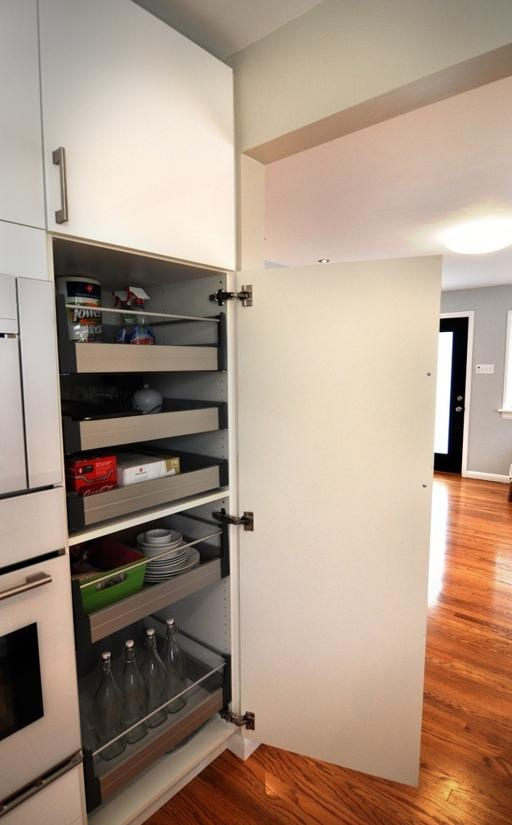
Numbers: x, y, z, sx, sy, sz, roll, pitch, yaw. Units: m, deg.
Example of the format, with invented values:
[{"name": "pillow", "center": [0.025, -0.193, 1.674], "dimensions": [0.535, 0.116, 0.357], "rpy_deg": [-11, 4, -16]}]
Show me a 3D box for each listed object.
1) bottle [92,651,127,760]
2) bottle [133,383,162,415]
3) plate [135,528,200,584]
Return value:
[{"name": "bottle", "center": [-0.359, 0.728, 1.453], "dimensions": [0.074, 0.267, 0.194], "rpy_deg": [-4, 8, -17]}, {"name": "bottle", "center": [-0.304, -0.037, 1.684], "dimensions": [0.068, 0.088, 0.072], "rpy_deg": [-1, 8, 0]}, {"name": "plate", "center": [-0.266, 0.405, 1.675], "dimensions": [0.123, 0.049, 0.127], "rpy_deg": [-4, 13, 30]}]
